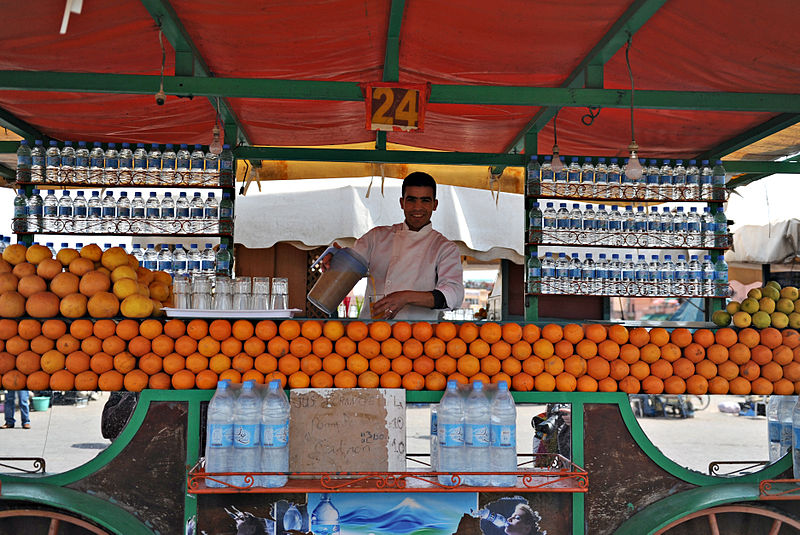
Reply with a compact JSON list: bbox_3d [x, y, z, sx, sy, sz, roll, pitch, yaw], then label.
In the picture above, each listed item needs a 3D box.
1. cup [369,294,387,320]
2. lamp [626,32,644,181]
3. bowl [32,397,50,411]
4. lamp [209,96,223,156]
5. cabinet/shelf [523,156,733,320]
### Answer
[{"bbox_3d":[-0.164,0.329,14.117,0.183,0.151,0.148,-1,-1,9],"label":"cup"},{"bbox_3d":[1.905,-1.317,14.768,0.209,1.225,0.189,3,7,15],"label":"lamp"},{"bbox_3d":[-2.681,1.040,13.689,0.119,0.075,0.111,2,-8,0],"label":"bowl"},{"bbox_3d":[-1.515,-1.143,15.191,0.113,0.379,0.102,2,8,5],"label":"lamp"},{"bbox_3d":[2.010,-0.316,15.992,1.850,1.106,0.562,0,-8,1],"label":"cabinet/shelf"}]
